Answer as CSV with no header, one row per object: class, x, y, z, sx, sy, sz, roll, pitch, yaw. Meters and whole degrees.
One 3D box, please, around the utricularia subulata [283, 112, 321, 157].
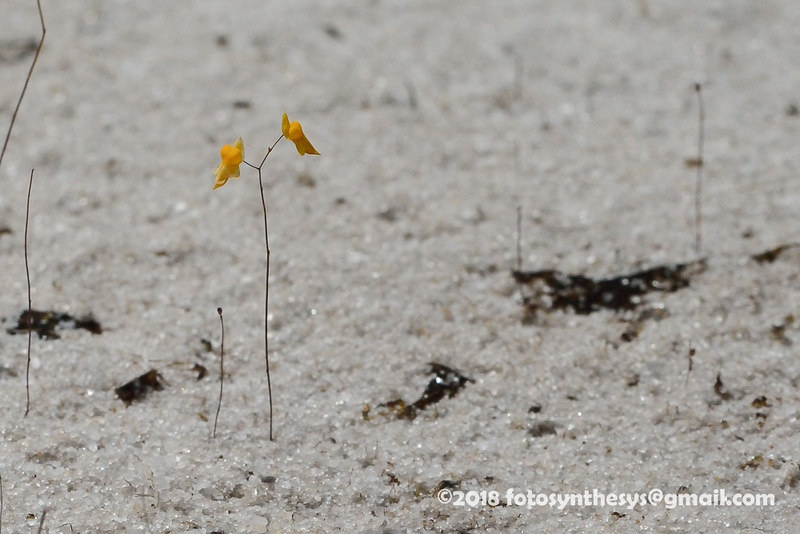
utricularia subulata,-0.413,-0.516,4.894,0.089,0.174,0.116,-35,15,17
